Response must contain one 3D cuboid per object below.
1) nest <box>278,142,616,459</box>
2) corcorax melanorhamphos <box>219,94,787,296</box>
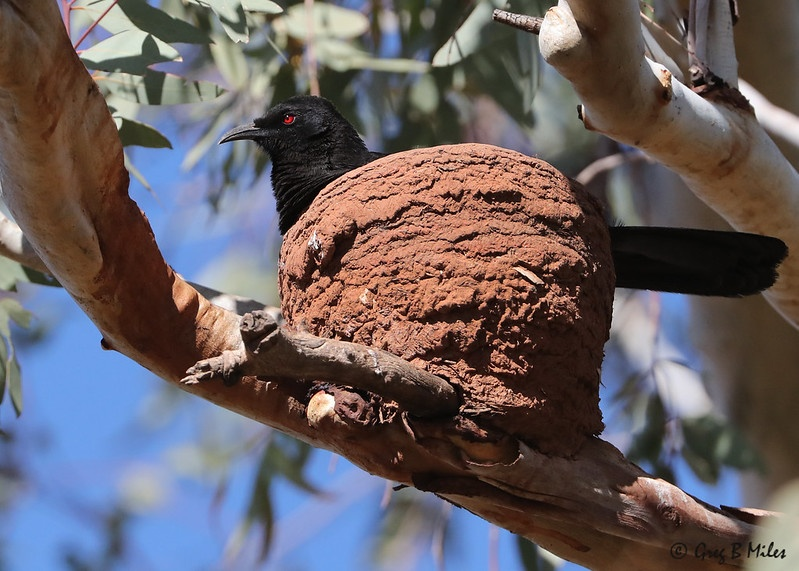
[{"bbox_3d":[0.333,0.020,7.479,1.487,1.538,1.325,3,8,11],"label":"nest"},{"bbox_3d":[0.639,-0.203,8.022,2.866,0.852,1.403,5,81,1],"label":"corcorax melanorhamphos"}]
